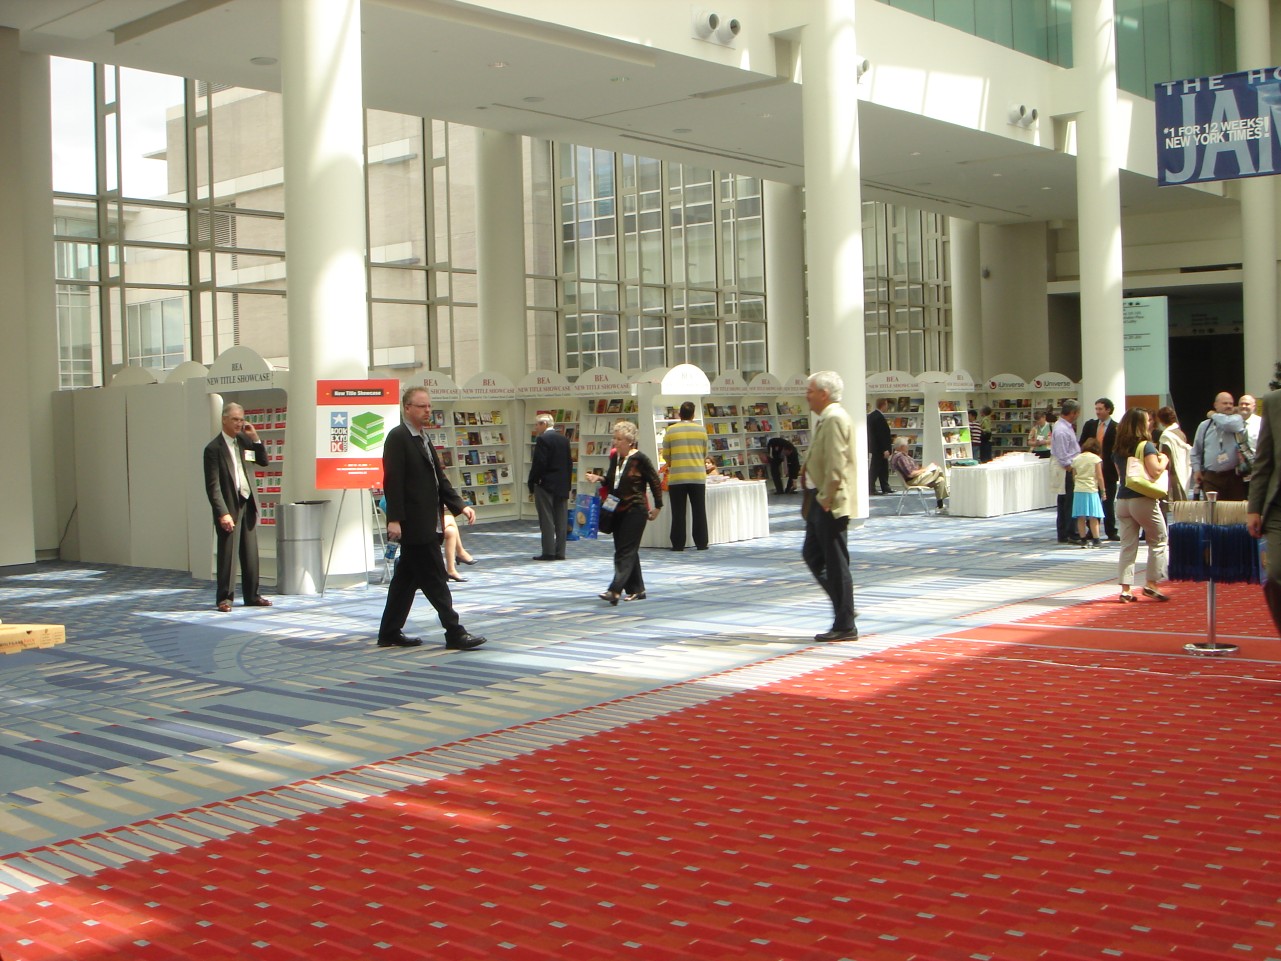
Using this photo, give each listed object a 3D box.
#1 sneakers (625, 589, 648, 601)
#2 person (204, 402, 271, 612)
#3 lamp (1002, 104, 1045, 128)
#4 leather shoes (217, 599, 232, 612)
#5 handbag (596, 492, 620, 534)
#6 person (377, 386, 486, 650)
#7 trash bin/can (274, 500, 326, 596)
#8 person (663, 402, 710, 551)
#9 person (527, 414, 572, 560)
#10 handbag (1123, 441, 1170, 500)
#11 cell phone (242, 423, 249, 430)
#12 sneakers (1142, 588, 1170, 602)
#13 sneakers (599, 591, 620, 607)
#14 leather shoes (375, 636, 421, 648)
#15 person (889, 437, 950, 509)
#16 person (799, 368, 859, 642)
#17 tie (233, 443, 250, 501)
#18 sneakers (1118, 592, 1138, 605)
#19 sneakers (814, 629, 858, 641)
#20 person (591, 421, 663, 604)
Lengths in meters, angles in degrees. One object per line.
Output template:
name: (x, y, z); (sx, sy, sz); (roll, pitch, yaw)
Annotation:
sneakers: (-0.051, 1.112, 9.312); (0.076, 0.083, 0.210); (-4, -7, 37)
person: (-3.949, 0.250, 9.400); (0.500, 1.336, 0.821); (-4, 3, -8)
lamp: (7.228, -6.851, 18.301); (0.220, 0.389, 0.733); (3, 10, 42)
leather shoes: (-4.002, 1.192, 9.238); (0.107, 0.089, 0.132); (1, -4, 2)
handbag: (-0.304, 0.321, 9.199); (0.190, 0.375, 0.293); (-3, 3, 4)
person: (-1.653, 0.301, 7.248); (0.752, 1.966, 0.766); (-4, 3, -15)
trash bin/can: (-3.520, 0.710, 10.038); (0.507, 0.944, 0.204); (-4, 3, -17)
person: (0.607, -0.047, 12.788); (0.628, 1.945, 0.781); (-3, 3, 3)
person: (-1.171, 0.067, 12.485); (0.547, 1.856, 1.108); (-3, 3, -5)
handbag: (4.278, -0.072, 8.176); (0.340, 0.491, 0.290); (-2, 3, 23)
cell phone: (-3.898, -0.525, 9.513); (0.085, 0.037, 0.083); (-4, 10, -23)
sneakers: (4.589, 1.013, 8.624); (0.255, 0.094, 0.128); (3, 4, 26)
sneakers: (-0.293, 1.111, 9.072); (0.119, 0.148, 0.349); (1, -6, -5)
leather shoes: (-1.892, 1.240, 7.547); (0.346, 0.136, 0.120); (1, -2, -9)
person: (4.976, -0.123, 17.171); (1.007, 1.323, 0.663); (-5, 12, 23)
person: (1.405, 0.208, 7.189); (0.405, 2.027, 0.650); (-3, 3, 9)
tie: (-3.843, -0.102, 9.194); (0.078, 0.394, 0.249); (-3, 3, 8)
sneakers: (4.334, 1.034, 8.563); (0.080, 0.087, 0.222); (-6, -8, 30)
sneakers: (1.493, 1.155, 7.315); (0.293, 0.122, 0.104); (2, -2, 4)
person: (-0.108, 0.291, 9.452); (0.608, 1.681, 1.008); (-3, 3, -1)
